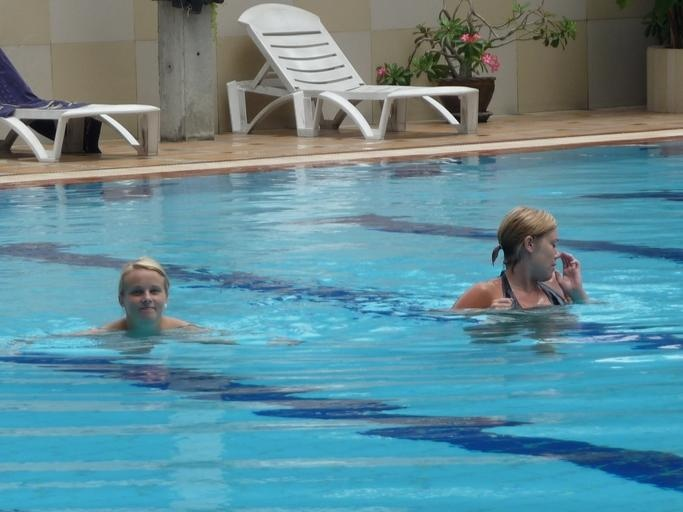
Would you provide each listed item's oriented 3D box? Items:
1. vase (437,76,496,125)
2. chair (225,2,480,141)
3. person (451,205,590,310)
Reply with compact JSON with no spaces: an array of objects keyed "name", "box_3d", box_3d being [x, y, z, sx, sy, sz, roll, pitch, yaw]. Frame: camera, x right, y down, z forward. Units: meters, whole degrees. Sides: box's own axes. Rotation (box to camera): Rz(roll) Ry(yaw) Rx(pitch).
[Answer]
[{"name":"vase","box_3d":[2.064,-2.527,12.911,1.176,0.532,0.906,-1,5,-1]},{"name":"chair","box_3d":[-0.146,-2.720,11.637,4.116,1.517,2.257,5,10,36]},{"name":"person","box_3d":[0.988,0.028,4.314,0.913,0.438,0.470,-7,5,-43]}]
